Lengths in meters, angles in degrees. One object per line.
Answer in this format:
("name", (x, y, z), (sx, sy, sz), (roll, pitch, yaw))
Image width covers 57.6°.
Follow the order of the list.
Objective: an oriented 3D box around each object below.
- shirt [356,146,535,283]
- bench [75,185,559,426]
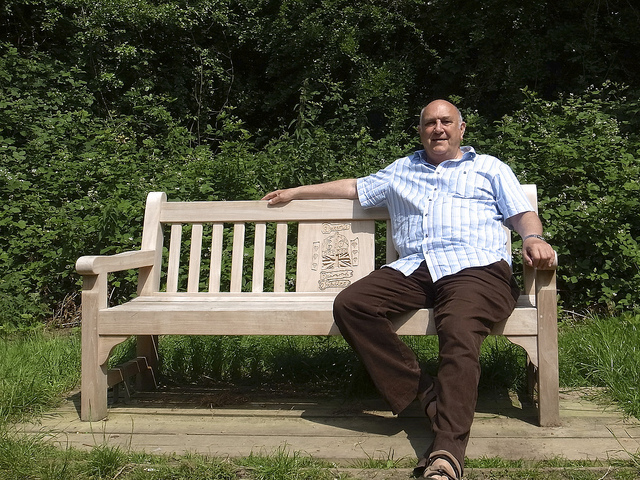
("shirt", (0.832, -0.139, 3.839), (1.342, 0.890, 0.584), (-6, -31, 20))
("bench", (0.037, 0.385, 3.883), (3.037, 1.165, 0.964), (0, 11, 14))
